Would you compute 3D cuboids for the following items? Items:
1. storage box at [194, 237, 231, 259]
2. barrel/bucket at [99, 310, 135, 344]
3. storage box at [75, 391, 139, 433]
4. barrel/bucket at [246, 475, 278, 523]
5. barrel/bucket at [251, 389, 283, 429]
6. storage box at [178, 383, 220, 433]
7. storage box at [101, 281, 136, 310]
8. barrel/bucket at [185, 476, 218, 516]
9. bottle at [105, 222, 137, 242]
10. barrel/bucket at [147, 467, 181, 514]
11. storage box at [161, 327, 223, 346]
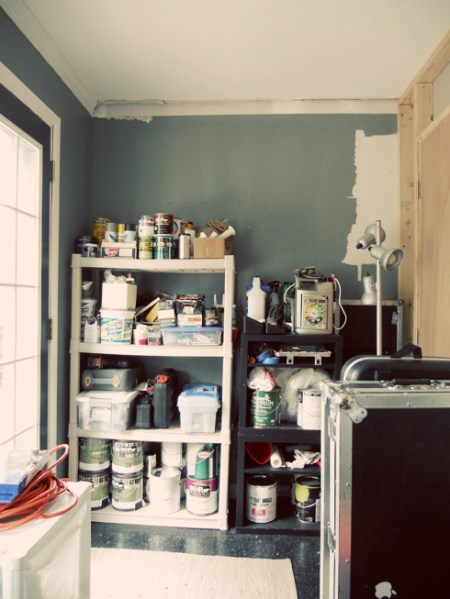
[{"bbox_3d":[-0.079,-0.251,2.888,0.117,0.071,0.118,0,0,0],"label":"storage box"},{"bbox_3d":[-0.538,0.140,2.940,0.169,0.147,0.169,3,-5,0],"label":"barrel/bucket"},{"bbox_3d":[-0.602,0.551,2.820,0.188,0.125,0.233,1,-2,4],"label":"storage box"},{"bbox_3d":[0.186,1.002,2.922,0.156,0.181,0.223,3,13,3],"label":"barrel/bucket"},{"bbox_3d":[0.201,0.535,2.820,0.177,0.176,0.170,0,-4,0],"label":"barrel/bucket"},{"bbox_3d":[-0.128,0.558,2.902,0.168,0.130,0.228,0,4,0],"label":"storage box"},{"bbox_3d":[-0.528,-0.013,2.887,0.147,0.142,0.152,-1,0,1],"label":"storage box"},{"bbox_3d":[-0.100,0.975,2.892,0.186,0.173,0.175,0,-7,0],"label":"barrel/bucket"},{"bbox_3d":[-0.543,-0.351,2.993,0.159,0.116,0.093,4,6,10],"label":"bottle"},{"bbox_3d":[-0.308,0.972,2.943,0.176,0.203,0.194,0,13,-7],"label":"barrel/bucket"},{"bbox_3d":[-0.165,0.179,2.898,0.306,0.107,0.122,2,13,-2],"label":"storage box"}]
